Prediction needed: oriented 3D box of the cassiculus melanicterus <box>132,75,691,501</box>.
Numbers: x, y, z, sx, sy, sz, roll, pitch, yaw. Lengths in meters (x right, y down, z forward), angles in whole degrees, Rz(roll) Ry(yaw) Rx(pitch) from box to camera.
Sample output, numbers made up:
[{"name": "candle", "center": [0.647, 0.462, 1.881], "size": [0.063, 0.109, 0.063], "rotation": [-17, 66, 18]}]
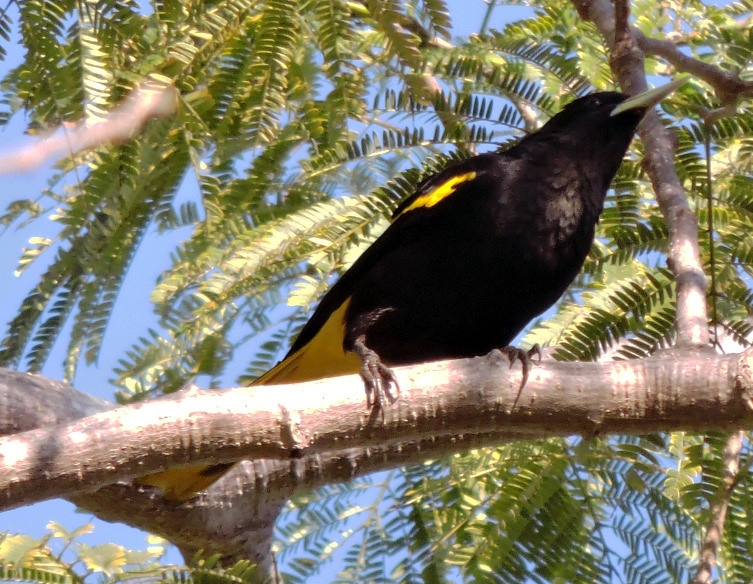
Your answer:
[{"name": "cassiculus melanicterus", "center": [0.169, -0.046, 5.809], "size": [2.772, 0.863, 1.171], "rotation": [-20, 45, 38]}]
